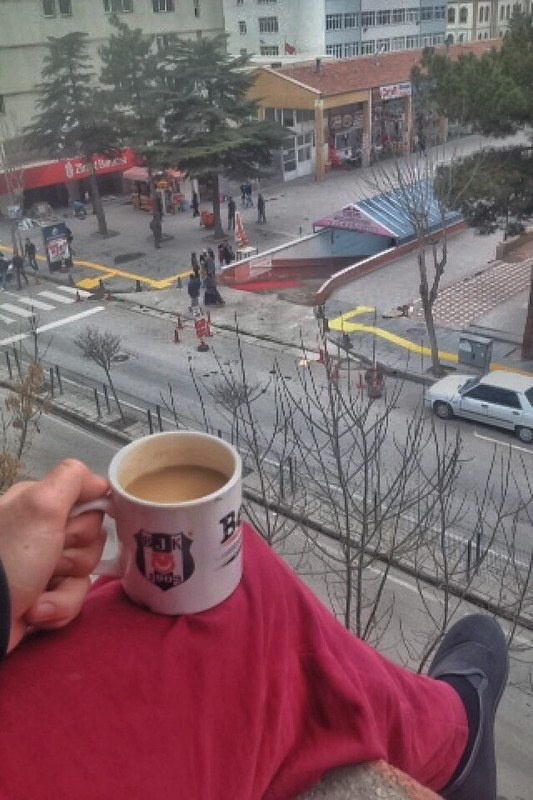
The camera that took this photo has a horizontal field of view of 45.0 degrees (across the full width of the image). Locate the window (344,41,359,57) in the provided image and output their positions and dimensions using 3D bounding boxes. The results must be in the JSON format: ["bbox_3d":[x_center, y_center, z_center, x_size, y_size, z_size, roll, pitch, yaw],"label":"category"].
[{"bbox_3d":[7.880,-32.598,59.929,1.377,1.513,0.132,-26,38,-37],"label":"window"}]

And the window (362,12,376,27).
[{"bbox_3d":[9.591,-35.468,60.225,1.142,1.242,1.128,-3,30,-4],"label":"window"}]

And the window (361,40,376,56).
[{"bbox_3d":[9.711,-33.465,61.475,1.368,1.536,1.368,8,33,15],"label":"window"}]

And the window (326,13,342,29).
[{"bbox_3d":[5.928,-33.628,57.302,1.382,1.050,0.098,-37,54,-26],"label":"window"}]

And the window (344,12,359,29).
[{"bbox_3d":[7.713,-34.570,58.834,0.103,1.491,1.512,32,64,22],"label":"window"}]
